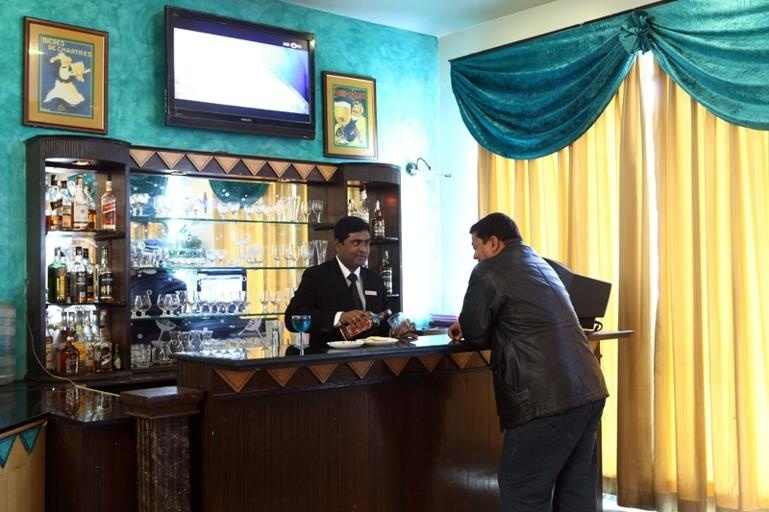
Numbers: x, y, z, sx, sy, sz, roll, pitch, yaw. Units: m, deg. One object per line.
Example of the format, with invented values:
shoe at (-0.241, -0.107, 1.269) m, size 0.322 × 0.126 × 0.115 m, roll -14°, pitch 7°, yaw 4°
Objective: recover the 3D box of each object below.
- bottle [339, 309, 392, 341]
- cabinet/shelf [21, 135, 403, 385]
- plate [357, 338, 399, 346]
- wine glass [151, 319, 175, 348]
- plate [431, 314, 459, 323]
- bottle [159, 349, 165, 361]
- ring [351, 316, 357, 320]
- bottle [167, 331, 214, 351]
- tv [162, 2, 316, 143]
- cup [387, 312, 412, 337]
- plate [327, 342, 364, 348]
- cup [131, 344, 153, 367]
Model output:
bottle at (-0.144, 0.489, 4.812) m, size 0.346 × 0.183 × 0.252 m, roll 1°, pitch -2°, yaw -14°
cabinet/shelf at (-1.297, 0.014, 5.923) m, size 2.950 × 1.769 × 0.594 m, roll 2°, pitch 3°, yaw -28°
plate at (-0.035, 0.563, 4.538) m, size 0.224 × 0.051 × 0.226 m, roll 0°, pitch -2°, yaw 4°
wine glass at (-1.862, 0.668, 5.919) m, size 0.190 × 0.237 × 0.189 m, roll 22°, pitch -13°, yaw -26°
plate at (0.557, 0.583, 6.402) m, size 0.165 × 0.055 × 0.167 m, roll 1°, pitch -1°, yaw -26°
bottle at (-1.866, 0.834, 5.753) m, size 0.057 × 0.085 × 0.044 m, roll 1°, pitch -2°, yaw -15°
ring at (-0.212, 0.428, 4.712) m, size 0.023 × 0.019 × 0.025 m, roll -1°, pitch -1°, yaw 0°
bottle at (-1.655, 0.693, 5.844) m, size 0.203 × 0.197 × 0.207 m, roll -2°, pitch -3°, yaw 24°
tv at (-1.379, -1.660, 6.230) m, size 1.303 × 0.989 × 0.127 m, roll 3°, pitch -7°, yaw -35°
cup at (0.105, 0.496, 4.853) m, size 0.125 × 0.136 × 0.170 m, roll 0°, pitch -13°, yaw 0°
plate at (-0.247, 0.567, 4.409) m, size 0.230 × 0.045 × 0.170 m, roll 1°, pitch -2°, yaw -7°
cup at (-2.007, 0.815, 5.664) m, size 0.166 × 0.197 × 0.161 m, roll 1°, pitch -2°, yaw 0°
